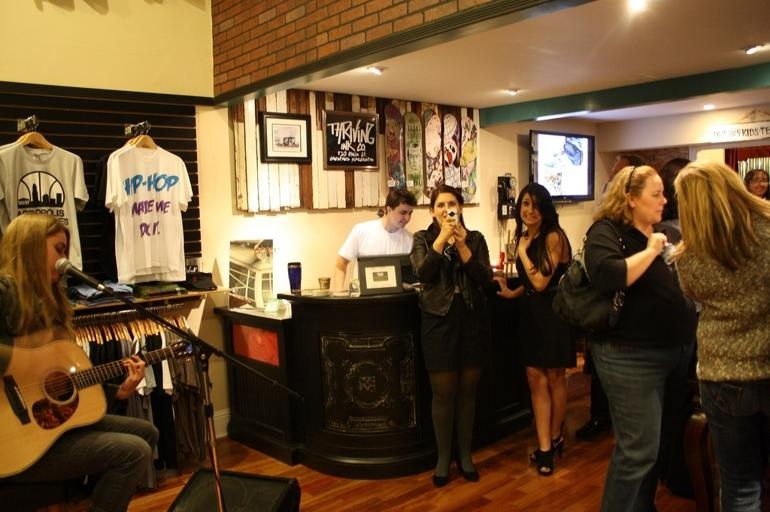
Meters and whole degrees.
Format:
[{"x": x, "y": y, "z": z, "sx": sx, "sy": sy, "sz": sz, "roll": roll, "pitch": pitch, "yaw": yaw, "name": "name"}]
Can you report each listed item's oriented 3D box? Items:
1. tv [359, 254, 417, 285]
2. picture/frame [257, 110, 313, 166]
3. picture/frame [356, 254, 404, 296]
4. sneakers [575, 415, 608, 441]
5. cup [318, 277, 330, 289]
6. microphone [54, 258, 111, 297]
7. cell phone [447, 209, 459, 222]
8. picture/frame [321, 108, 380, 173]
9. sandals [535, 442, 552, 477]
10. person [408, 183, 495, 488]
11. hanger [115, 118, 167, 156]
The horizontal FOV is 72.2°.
[{"x": 0.006, "y": 0.109, "z": 4.263, "sx": 0.407, "sy": 0.268, "sz": 0.091, "roll": -4, "pitch": -2, "yaw": -11, "name": "tv"}, {"x": -1.057, "y": -1.212, "z": 5.475, "sx": 0.641, "sy": 0.519, "sz": 0.070, "roll": -3, "pitch": 2, "yaw": -40, "name": "picture/frame"}, {"x": -0.042, "y": 0.170, "z": 4.164, "sx": 0.308, "sy": 0.268, "sz": 0.105, "roll": 1, "pitch": -12, "yaw": -24, "name": "picture/frame"}, {"x": 1.830, "y": 1.537, "z": 4.729, "sx": 0.387, "sy": 0.161, "sz": 0.132, "roll": -3, "pitch": 4, "yaw": -31, "name": "sneakers"}, {"x": -0.507, "y": 0.240, "z": 4.466, "sx": 0.115, "sy": 0.094, "sz": 0.100, "roll": 2, "pitch": -3, "yaw": -39, "name": "cup"}, {"x": -2.121, "y": 0.159, "z": 3.712, "sx": 0.456, "sy": 0.088, "sz": 0.102, "roll": 31, "pitch": 33, "yaw": 26, "name": "microphone"}, {"x": 0.494, "y": -0.292, "z": 3.892, "sx": 0.069, "sy": 0.085, "sz": 0.112, "roll": -2, "pitch": 7, "yaw": 6, "name": "cell phone"}, {"x": -0.413, "y": -1.288, "z": 5.923, "sx": 0.783, "sy": 0.650, "sz": 0.078, "roll": -4, "pitch": 6, "yaw": -38, "name": "picture/frame"}, {"x": 1.242, "y": 1.586, "z": 4.143, "sx": 0.145, "sy": 0.190, "sz": 0.198, "roll": -2, "pitch": 7, "yaw": 8, "name": "sandals"}, {"x": 0.543, "y": 0.592, "z": 4.083, "sx": 0.587, "sy": 2.249, "sz": 0.447, "roll": -4, "pitch": 7, "yaw": -4, "name": "person"}, {"x": -2.136, "y": -1.036, "z": 4.625, "sx": 0.281, "sy": 0.268, "sz": 0.312, "roll": -7, "pitch": 8, "yaw": -26, "name": "hanger"}]
